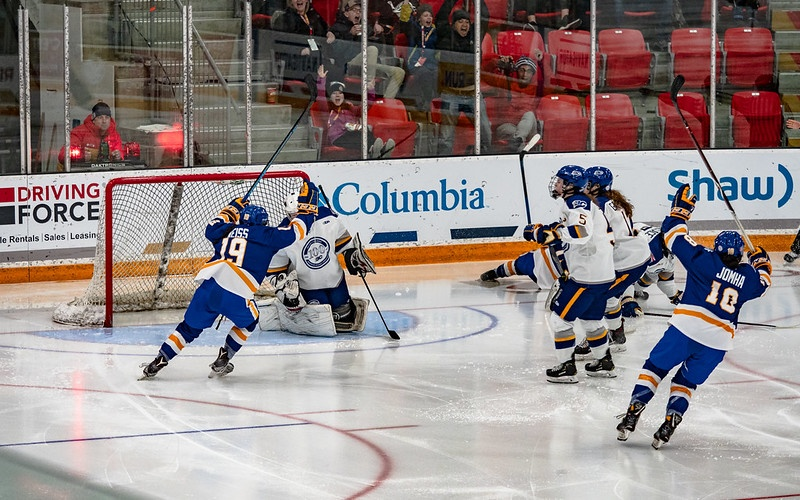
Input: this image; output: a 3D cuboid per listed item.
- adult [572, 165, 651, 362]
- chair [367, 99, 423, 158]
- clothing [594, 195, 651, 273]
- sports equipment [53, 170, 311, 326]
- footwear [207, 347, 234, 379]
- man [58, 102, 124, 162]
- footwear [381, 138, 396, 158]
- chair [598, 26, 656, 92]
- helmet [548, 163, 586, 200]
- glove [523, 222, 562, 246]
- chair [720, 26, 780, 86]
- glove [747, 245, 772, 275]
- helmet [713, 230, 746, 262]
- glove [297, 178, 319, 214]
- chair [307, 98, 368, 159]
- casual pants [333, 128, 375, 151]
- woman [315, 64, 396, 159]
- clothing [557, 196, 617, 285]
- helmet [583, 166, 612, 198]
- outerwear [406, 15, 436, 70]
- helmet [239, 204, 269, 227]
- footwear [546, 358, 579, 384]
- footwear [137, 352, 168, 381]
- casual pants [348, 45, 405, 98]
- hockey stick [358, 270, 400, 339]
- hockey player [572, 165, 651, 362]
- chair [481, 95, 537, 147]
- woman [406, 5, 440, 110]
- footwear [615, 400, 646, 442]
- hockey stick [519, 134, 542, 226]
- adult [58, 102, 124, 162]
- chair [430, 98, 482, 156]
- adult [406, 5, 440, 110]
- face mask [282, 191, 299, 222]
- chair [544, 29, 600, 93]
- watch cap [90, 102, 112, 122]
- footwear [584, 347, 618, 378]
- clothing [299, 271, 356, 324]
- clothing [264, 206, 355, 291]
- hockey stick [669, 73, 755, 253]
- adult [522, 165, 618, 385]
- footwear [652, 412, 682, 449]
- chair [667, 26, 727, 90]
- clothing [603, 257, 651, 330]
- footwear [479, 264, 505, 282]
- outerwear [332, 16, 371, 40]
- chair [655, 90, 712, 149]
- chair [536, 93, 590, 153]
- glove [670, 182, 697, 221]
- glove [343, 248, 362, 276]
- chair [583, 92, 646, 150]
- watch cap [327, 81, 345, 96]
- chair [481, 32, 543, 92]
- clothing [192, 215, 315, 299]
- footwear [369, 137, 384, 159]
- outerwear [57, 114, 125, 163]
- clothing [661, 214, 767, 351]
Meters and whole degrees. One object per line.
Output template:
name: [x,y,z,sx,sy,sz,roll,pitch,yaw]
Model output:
adult: [1.898,0.116,8.817,0.906,1.843,0.801,-6,13,-19]
chair: [-0.124,-1.540,11.770,0.464,0.561,0.560,-11,11,-2]
clothing: [2.026,-0.130,8.438,0.647,0.606,0.239,1,8,6]
sports equipment: [-2.313,-0.217,10.622,3.050,1.425,0.972,-7,17,-43]
footwear: [-1.612,0.982,8.180,0.307,0.279,0.151,-6,7,-32]
man: [-3.550,-1.347,10.798,0.525,0.677,0.377,8,27,-33]
footwear: [-0.145,-1.228,11.651,0.101,0.286,0.112,26,-6,-20]
chair: [2.908,-2.437,12.386,0.697,0.718,0.471,-6,27,-3]
helmet: [1.439,-0.590,8.211,0.315,0.280,0.257,9,16,16]
glove: [1.243,-0.143,8.521,0.156,0.145,0.375,0,1,-26]
chair: [4.562,-2.526,12.626,0.838,0.922,0.771,0,5,0]
glove: [2.750,0.051,7.294,0.116,0.087,0.343,-4,30,3]
helmet: [2.476,-0.027,7.182,0.221,0.242,0.282,4,-15,7]
glove: [-0.860,-0.479,8.686,0.214,0.263,0.106,2,0,-21]
chair: [-0.881,-1.441,11.457,0.795,0.708,0.573,8,10,34]
casual pants: [-0.568,-1.325,11.532,0.416,0.151,0.232,1,24,-15]
woman: [-0.602,-1.655,11.285,0.770,0.971,0.989,-9,9,-23]
clothing: [1.563,-0.083,8.041,0.484,0.756,0.298,-1,8,6]
helmet: [1.740,-0.597,8.349,0.289,0.243,0.214,16,3,-13]
outerwear: [0.266,-2.527,11.580,0.458,0.190,0.741,-9,-33,7]
helmet: [-1.278,-0.275,8.293,0.171,0.205,0.216,17,27,38]
footwear: [1.389,1.041,8.144,0.314,0.208,0.145,3,5,2]
footwear: [-2.100,0.991,8.114,0.300,0.172,0.081,-42,3,-1]
casual pants: [-0.317,-2.207,11.696,0.645,0.711,0.553,2,35,-11]
hockey stick: [-0.232,0.594,9.971,0.093,0.787,0.084,-34,10,37]
hockey player: [1.884,0.098,8.751,0.886,1.700,0.732,0,9,-3]
chair: [1.360,-1.579,11.901,0.568,0.699,0.681,0,2,-9]
woman: [0.313,-2.283,11.379,0.528,1.056,0.352,-1,14,-15]
footwear: [1.722,1.269,7.160,0.197,0.332,0.258,-1,8,5]
hockey stick: [1.687,-0.759,11.809,0.320,1.166,0.046,-4,36,13]
adult: [-3.473,-1.249,10.884,0.676,0.876,0.500,-10,42,-22]
chair: [0.746,-1.486,11.848,0.509,1.018,0.325,5,-37,-2]
adult: [0.284,-2.338,11.579,0.528,1.056,0.352,-1,14,-15]
face mask: [-1.002,-0.388,8.709,0.186,0.227,0.235,2,-9,-11]
chair: [2.127,-2.279,11.798,0.659,0.766,0.678,4,17,5]
watch cap: [-3.402,-1.555,10.747,0.185,0.168,0.186,2,16,-11]
footwear: [1.738,0.986,8.406,0.337,0.310,0.153,7,11,10]
clothing: [-0.638,0.487,9.191,0.411,0.493,0.268,-7,-5,-13]
clothing: [-0.879,0.011,9.041,0.795,0.631,0.326,-16,27,-15]
hockey stick: [3.648,-0.999,11.217,0.356,2.488,0.292,-34,11,-30]
adult: [1.488,0.202,8.285,0.779,1.859,0.762,2,1,43]
footwear: [2.003,1.354,7.128,0.087,0.254,0.133,36,18,10]
chair: [3.738,-2.469,12.441,0.672,0.705,0.615,-7,5,-19]
clothing: [2.023,0.429,8.737,0.475,0.598,0.239,6,10,-10]
footwear: [1.057,0.275,10.829,0.253,0.094,0.147,-17,20,36]
outerwear: [-0.608,-2.619,11.411,0.375,0.125,0.268,3,4,-14]
chair: [3.655,-1.647,12.240,0.672,0.861,0.733,-2,3,0]
chair: [2.068,-1.600,12.273,0.673,0.835,0.508,0,-3,-1]
glove: [2.290,-0.369,7.715,0.229,0.360,0.117,12,-25,12]
glove: [-0.495,0.120,9.340,0.115,0.326,0.154,-17,3,-28]
chair: [2.735,-1.727,12.198,0.725,0.943,0.534,-7,49,5]
watch cap: [-0.768,-1.912,11.383,0.164,0.117,0.140,-6,-13,18]
chair: [1.333,-2.312,12.126,0.846,0.852,0.717,-2,10,-14]
clothing: [-1.305,0.061,8.365,0.669,0.786,0.240,12,-23,3]
footwear: [-0.313,-1.202,11.652,0.111,0.309,0.126,15,0,-5]
outerwear: [-3.438,-1.201,10.960,0.620,0.563,0.321,-3,-10,6]
clothing: [2.334,0.268,7.164,0.778,0.916,0.548,2,9,28]
